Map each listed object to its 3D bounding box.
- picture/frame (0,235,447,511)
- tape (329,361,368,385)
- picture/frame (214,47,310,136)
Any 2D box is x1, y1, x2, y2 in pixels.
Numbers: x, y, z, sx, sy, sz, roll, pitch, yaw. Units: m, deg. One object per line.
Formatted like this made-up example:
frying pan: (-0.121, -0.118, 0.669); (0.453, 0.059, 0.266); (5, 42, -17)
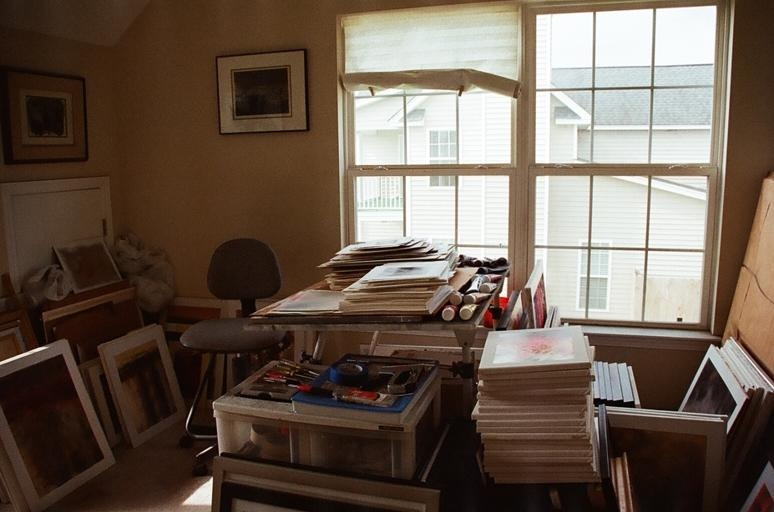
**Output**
picture/frame: (-0.936, 0.767, 4.237); (1.818, 2.564, 1.892); (-1, -12, 3)
tape: (-0.174, 0.521, 2.543); (0.109, 0.038, 0.106); (3, 12, 2)
picture/frame: (-0.870, -1.195, 4.039); (0.692, 0.512, 0.027); (0, 6, 15)
